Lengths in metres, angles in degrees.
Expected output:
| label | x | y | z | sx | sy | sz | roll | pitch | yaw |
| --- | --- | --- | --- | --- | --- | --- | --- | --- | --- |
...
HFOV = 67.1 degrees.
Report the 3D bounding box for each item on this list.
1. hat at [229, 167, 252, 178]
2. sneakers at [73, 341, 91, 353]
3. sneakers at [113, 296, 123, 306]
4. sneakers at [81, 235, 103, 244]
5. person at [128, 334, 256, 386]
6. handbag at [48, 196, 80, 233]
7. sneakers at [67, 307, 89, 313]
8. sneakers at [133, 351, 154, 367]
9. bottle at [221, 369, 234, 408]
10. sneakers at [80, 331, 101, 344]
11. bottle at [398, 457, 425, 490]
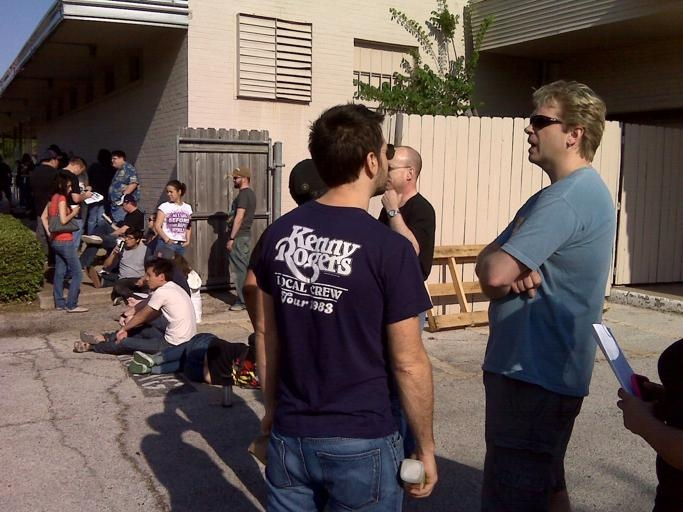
| label | x | y | z | sx | sy | sz | roll | pitch | yaw |
| --- | --- | --- | --- | --- | --- | --- | --- | --- | --- |
| hat | -1.742 | -1.461 | 8.918 | 0.272 | 0.160 | 0.217 | 2 | 9 | -1 |
| sneakers | -3.302 | 1.140 | 6.559 | 0.099 | 0.080 | 0.276 | 0 | -2 | -3 |
| sneakers | -3.738 | 0.733 | 8.659 | 0.087 | 0.185 | 0.273 | 1 | 3 | -15 |
| sneakers | -4.749 | -0.332 | 9.833 | 0.404 | 0.208 | 0.184 | 10 | 13 | 20 |
| person | -1.626 | 1.135 | 5.618 | 1.251 | 0.447 | 0.786 | 4 | 10 | 15 |
| handbag | -4.464 | -0.696 | 8.268 | 0.548 | 0.739 | 0.280 | -2 | -6 | -19 |
| sneakers | -4.156 | 0.827 | 8.146 | 0.218 | 0.104 | 0.089 | -3 | 9 | -20 |
| sneakers | -2.233 | 1.156 | 5.894 | 0.254 | 0.125 | 0.111 | 35 | -2 | -4 |
| bottle | -1.146 | 1.310 | 5.193 | 0.114 | 0.332 | 0.259 | -2 | 9 | -13 |
| sneakers | -3.272 | 1.049 | 6.734 | 0.107 | 0.105 | 0.275 | 3 | -2 | 42 |
| bottle | 0.277 | 0.840 | 2.054 | 0.087 | 0.103 | 0.117 | 11 | -13 | 9 |
